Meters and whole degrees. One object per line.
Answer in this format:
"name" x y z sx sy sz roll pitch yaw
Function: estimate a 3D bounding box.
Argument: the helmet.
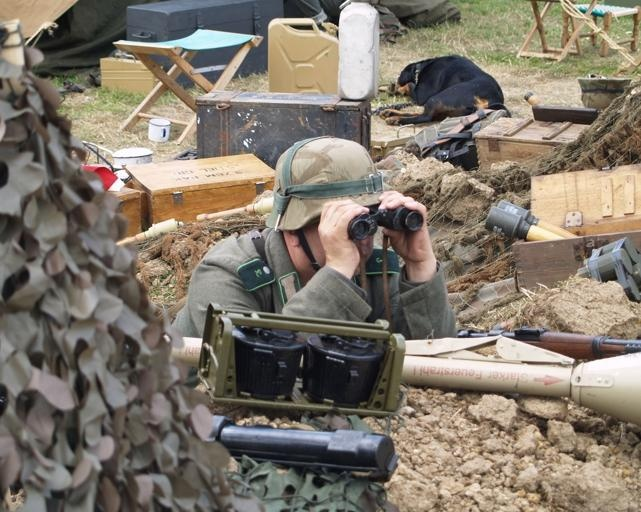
"helmet" 0.012 -0.313 3.773 0.520 0.341 0.540 -4 13 4

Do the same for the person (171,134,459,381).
"person" -0.130 -0.044 3.994 0.998 0.877 1.335 -4 5 -41

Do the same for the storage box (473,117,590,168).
"storage box" 1.643 -0.859 7.364 0.893 0.379 0.582 16 26 37

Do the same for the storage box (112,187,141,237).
"storage box" -1.401 -0.334 6.891 0.190 0.405 0.542 -5 21 -11

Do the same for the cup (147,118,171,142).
"cup" -1.816 -1.431 10.642 0.256 0.204 0.249 6 37 -4

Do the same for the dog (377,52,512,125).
"dog" 1.412 -1.909 10.910 0.875 0.694 2.467 -9 22 -21

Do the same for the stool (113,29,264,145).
"stool" -1.408 -2.256 10.953 1.670 1.285 1.426 -19 30 -41
